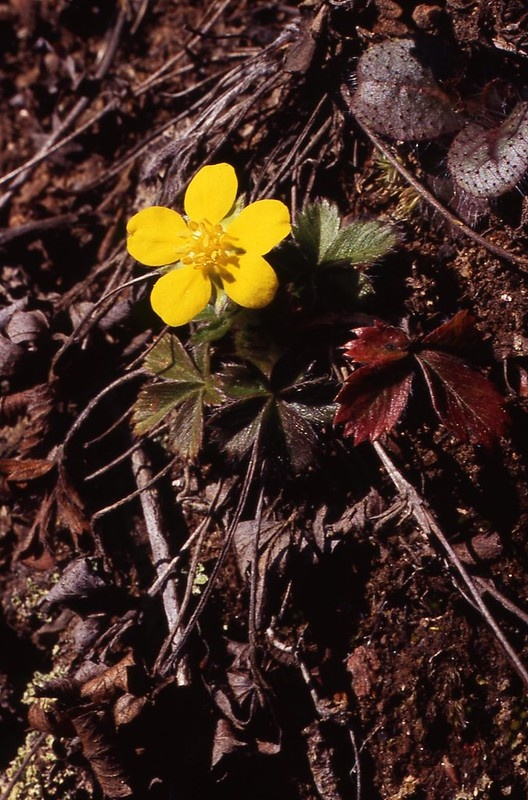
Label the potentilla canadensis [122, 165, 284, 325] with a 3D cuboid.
[{"bbox_3d":[-0.179,-0.520,2.583,0.536,0.425,0.416,-22,37,-5],"label":"potentilla canadensis"}]
